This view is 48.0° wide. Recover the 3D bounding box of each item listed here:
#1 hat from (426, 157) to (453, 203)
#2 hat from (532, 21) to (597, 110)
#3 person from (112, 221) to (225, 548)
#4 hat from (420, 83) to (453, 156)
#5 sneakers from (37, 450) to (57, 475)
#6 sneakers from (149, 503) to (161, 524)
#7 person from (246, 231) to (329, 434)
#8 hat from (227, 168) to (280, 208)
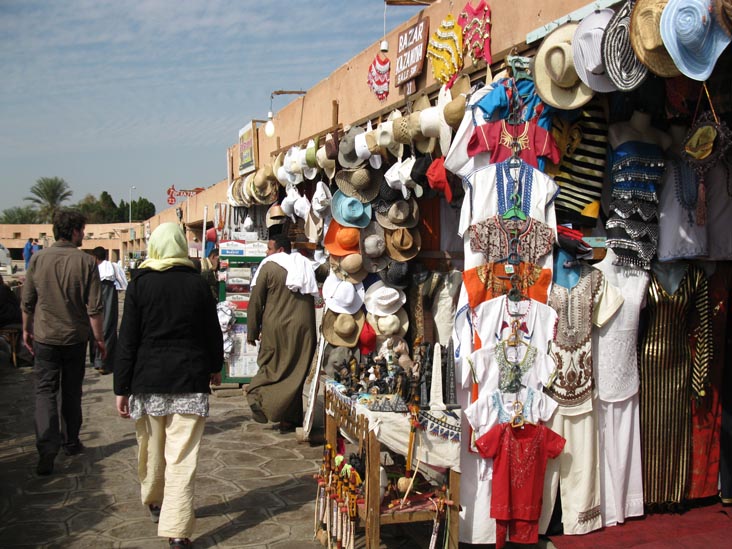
[{"bbox_3d":[0.657,-0.797,7.281,0.129,0.364,0.290,-15,51,-2],"label":"hat"},{"bbox_3d":[1.504,-1.587,6.280,0.148,0.584,0.519,-14,25,-34],"label":"hat"},{"bbox_3d":[-1.533,0.818,6.348,0.654,2.382,0.610,3,8,22],"label":"person"},{"bbox_3d":[0.626,-1.316,7.172,0.183,0.472,0.506,-2,28,-21],"label":"hat"},{"bbox_3d":[-2.896,1.673,7.406,0.164,0.191,0.155,-3,9,-27],"label":"sneakers"},{"bbox_3d":[-1.728,1.893,6.662,0.066,0.086,0.204,10,24,-36],"label":"sneakers"},{"bbox_3d":[-0.908,0.740,8.805,0.763,1.909,0.510,0,7,-5],"label":"person"},{"bbox_3d":[-1.695,-1.502,12.777,0.725,0.870,0.210,-9,-5,11],"label":"hat"}]
